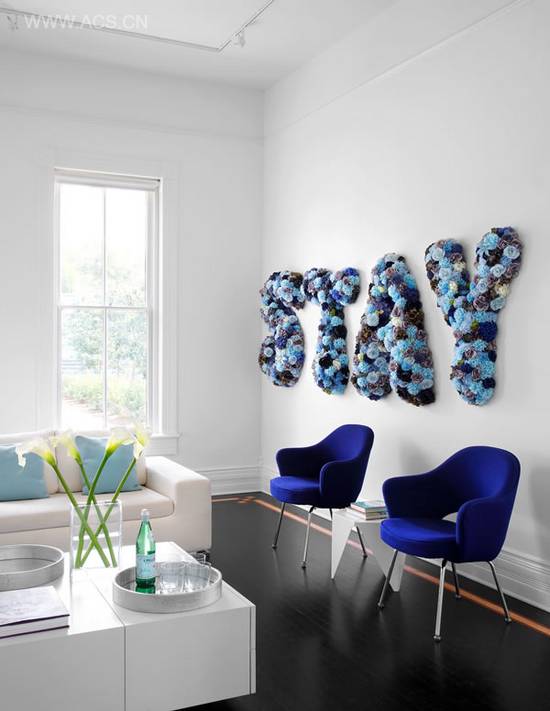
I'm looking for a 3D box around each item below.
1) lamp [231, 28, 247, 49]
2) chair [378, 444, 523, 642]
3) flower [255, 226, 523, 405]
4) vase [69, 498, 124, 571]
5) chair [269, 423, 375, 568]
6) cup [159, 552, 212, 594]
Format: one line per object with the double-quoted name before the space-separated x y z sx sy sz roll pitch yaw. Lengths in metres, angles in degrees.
"lamp" -0.310 -2.611 4.943 0.132 0.184 0.074 5 -21 27
"chair" 0.853 0.832 3.173 0.816 1.022 0.831 3 -4 -29
"flower" 0.806 -0.281 4.228 0.170 0.783 1.731 1 0 -34
"vase" -0.700 0.714 2.335 0.210 0.241 0.203 14 -35 -35
"chair" 0.321 0.916 4.317 0.842 1.002 0.863 3 -5 -29
"cup" -0.320 0.772 2.104 0.143 0.050 0.108 2 -1 -3
